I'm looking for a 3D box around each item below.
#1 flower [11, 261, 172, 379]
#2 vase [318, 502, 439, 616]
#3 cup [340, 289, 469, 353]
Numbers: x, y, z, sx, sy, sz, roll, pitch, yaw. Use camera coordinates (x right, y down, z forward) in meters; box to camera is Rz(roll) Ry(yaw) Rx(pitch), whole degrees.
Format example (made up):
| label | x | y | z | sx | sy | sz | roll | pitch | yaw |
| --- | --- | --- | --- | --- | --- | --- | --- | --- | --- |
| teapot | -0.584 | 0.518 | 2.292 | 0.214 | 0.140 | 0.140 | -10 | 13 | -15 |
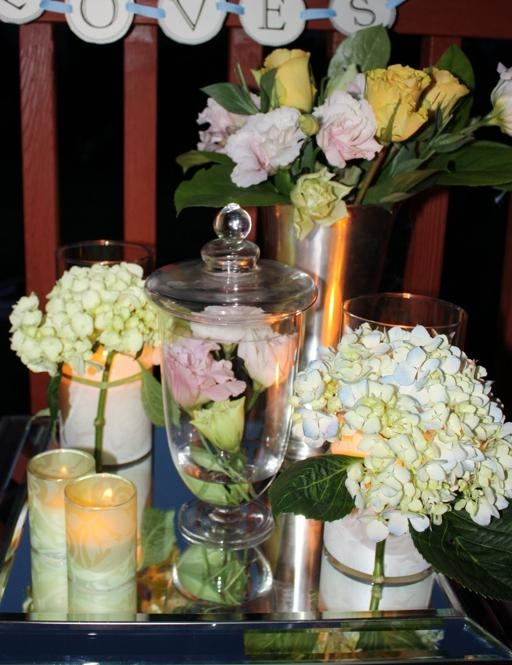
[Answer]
| label | x | y | z | sx | sy | sz | roll | pitch | yaw |
| --- | --- | --- | --- | --- | --- | --- | --- | --- | --- |
| flower | -0.153 | -0.009 | 0.551 | 0.131 | 0.106 | 0.093 | 3 | 11 | -9 |
| vase | 0.089 | 0.172 | 0.492 | 0.089 | 0.081 | 0.079 | -1 | 2 | -1 |
| cup | 0.136 | -0.005 | 0.541 | 0.079 | 0.051 | 0.079 | 0 | 3 | 0 |
